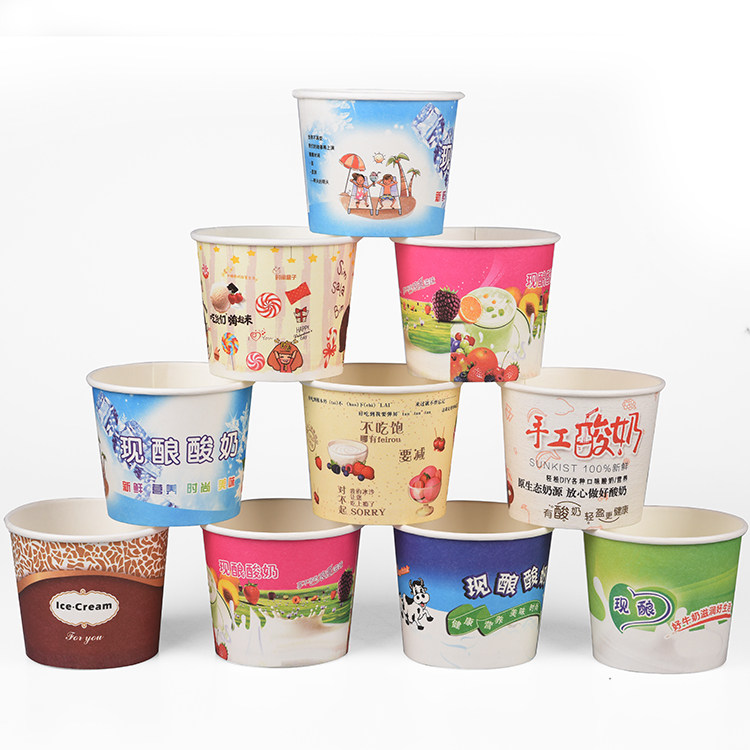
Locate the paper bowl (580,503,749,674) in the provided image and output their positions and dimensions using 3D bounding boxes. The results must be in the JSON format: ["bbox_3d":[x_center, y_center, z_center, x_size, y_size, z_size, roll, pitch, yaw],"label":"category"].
[{"bbox_3d":[0.774,0.529,2.101,0.401,0.304,0.431,1,-1,0],"label":"paper bowl"}]

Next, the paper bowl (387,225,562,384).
[{"bbox_3d":[0.263,-0.178,2.098,0.498,0.350,0.437,1,4,16],"label":"paper bowl"}]

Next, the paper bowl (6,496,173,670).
[{"bbox_3d":[-0.752,0.506,2.082,0.354,0.389,0.466,-9,21,-26],"label":"paper bowl"}]

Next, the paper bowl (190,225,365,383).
[{"bbox_3d":[-0.268,-0.181,2.050,0.441,0.332,0.451,0,8,0],"label":"paper bowl"}]

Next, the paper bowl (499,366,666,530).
[{"bbox_3d":[0.543,0.178,2.144,0.520,0.387,0.529,1,2,0],"label":"paper bowl"}]

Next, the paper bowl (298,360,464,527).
[{"bbox_3d":[0.010,0.191,2.133,0.456,0.348,0.472,1,0,0],"label":"paper bowl"}]

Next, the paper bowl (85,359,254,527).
[{"bbox_3d":[-0.548,0.185,2.065,0.473,0.358,0.481,-1,8,0],"label":"paper bowl"}]
